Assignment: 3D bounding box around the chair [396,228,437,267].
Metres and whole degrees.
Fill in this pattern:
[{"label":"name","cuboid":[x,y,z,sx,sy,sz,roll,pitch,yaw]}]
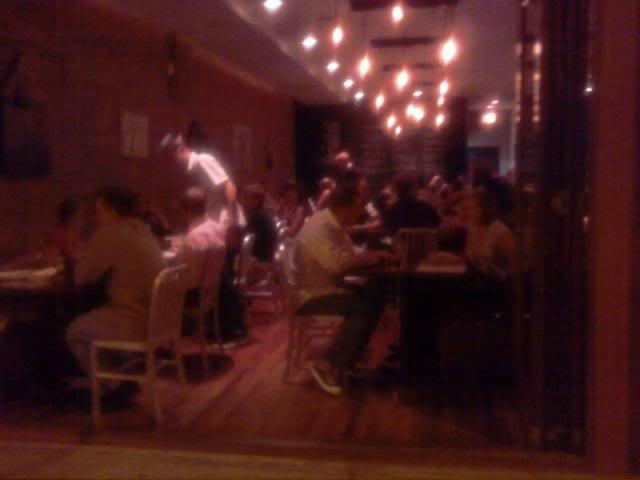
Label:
[{"label":"chair","cuboid":[0.625,0.056,3.724,0.232,0.249,0.158,2,9,11]}]
